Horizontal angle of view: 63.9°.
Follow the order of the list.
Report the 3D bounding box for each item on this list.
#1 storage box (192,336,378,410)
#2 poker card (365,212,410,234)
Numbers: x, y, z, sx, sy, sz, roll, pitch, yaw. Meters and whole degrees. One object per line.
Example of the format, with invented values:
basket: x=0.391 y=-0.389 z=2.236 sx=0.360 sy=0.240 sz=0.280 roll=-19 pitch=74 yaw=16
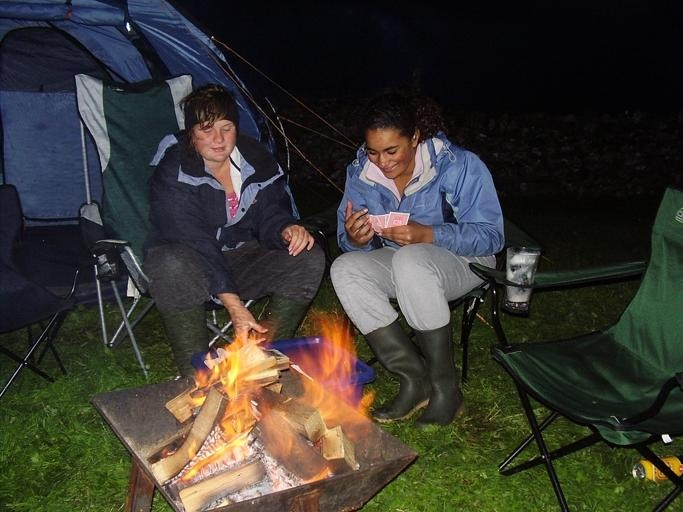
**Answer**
storage box: x=-0.150 y=0.647 z=2.795 sx=0.608 sy=0.185 sz=0.427 roll=7 pitch=-4 yaw=-15
poker card: x=0.268 y=-0.187 z=3.190 sx=0.145 sy=0.103 sz=0.014 roll=-3 pitch=26 yaw=14
